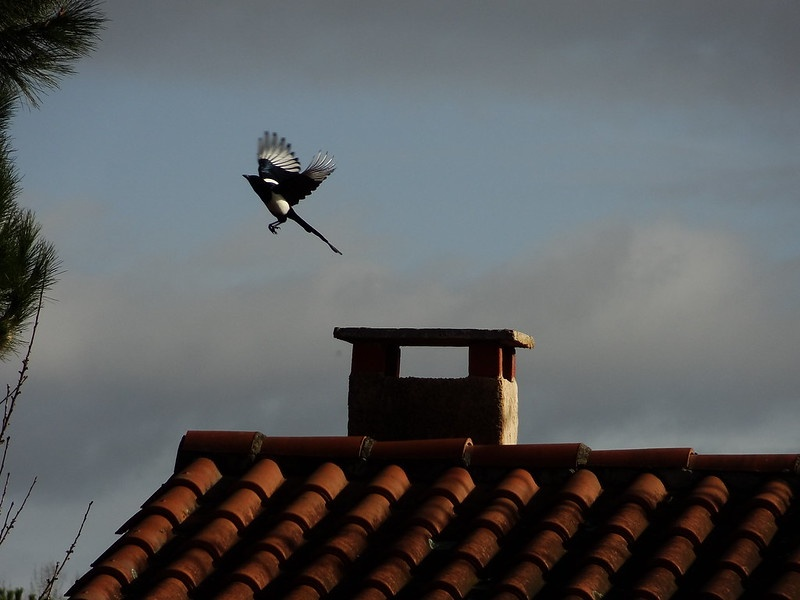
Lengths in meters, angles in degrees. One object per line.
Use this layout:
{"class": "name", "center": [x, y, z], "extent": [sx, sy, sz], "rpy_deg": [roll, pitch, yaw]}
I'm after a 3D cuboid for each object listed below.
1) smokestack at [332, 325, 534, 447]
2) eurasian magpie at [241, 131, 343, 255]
{"class": "smokestack", "center": [0.216, 0.661, 8.738], "extent": [1.153, 0.924, 0.743], "rpy_deg": [-1, -10, 17]}
{"class": "eurasian magpie", "center": [-0.915, -0.892, 11.278], "extent": [0.958, 0.706, 1.212], "rpy_deg": [21, -3, 4]}
